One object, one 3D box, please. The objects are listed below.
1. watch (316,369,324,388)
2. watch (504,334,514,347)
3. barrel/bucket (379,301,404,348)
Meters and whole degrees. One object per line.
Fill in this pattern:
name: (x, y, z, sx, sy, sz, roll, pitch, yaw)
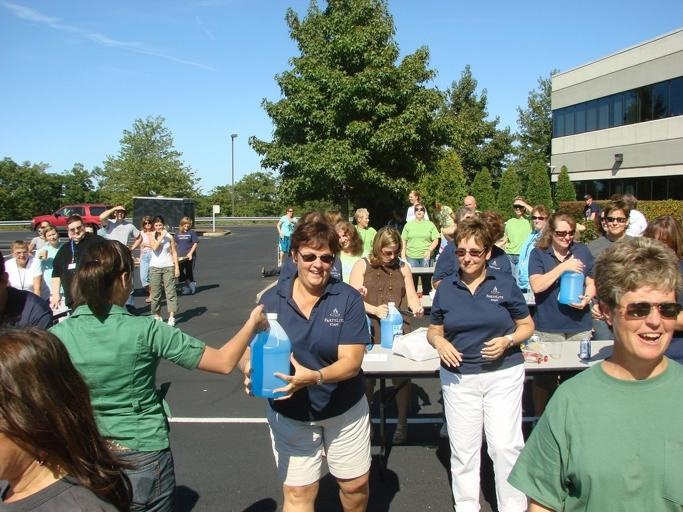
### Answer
watch: (-0.126, 0.728, 3.323, 0.045, 0.074, 0.074, -2, 5, -5)
watch: (1.198, 0.605, 4.041, 0.053, 0.085, 0.087, 3, -22, 21)
barrel/bucket: (0.473, 0.647, 5.323, 0.194, 0.440, 0.184, -1, 8, 0)
